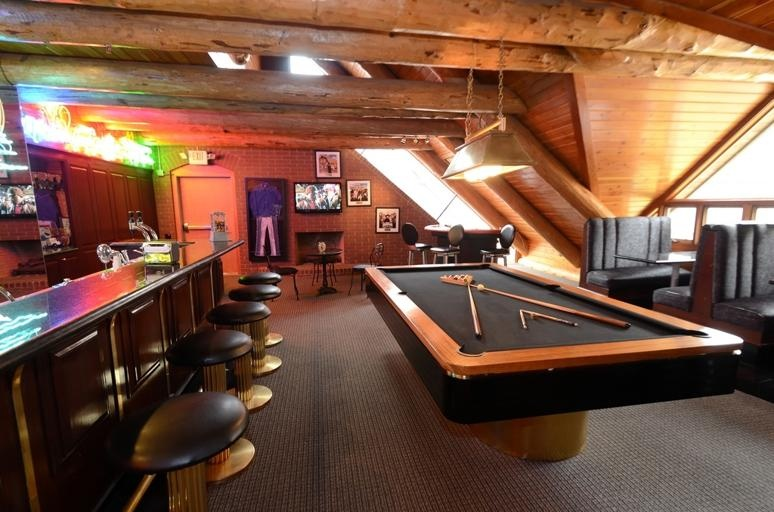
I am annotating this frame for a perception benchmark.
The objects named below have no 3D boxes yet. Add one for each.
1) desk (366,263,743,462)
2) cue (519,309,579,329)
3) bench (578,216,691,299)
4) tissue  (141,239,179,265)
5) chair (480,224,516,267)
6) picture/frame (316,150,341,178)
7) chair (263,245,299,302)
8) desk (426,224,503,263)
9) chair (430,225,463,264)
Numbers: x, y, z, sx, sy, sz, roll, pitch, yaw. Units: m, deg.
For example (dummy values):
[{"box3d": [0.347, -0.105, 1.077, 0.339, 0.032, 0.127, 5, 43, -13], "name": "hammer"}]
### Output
[{"box3d": [1.151, 0.913, 4.382, 3.015, 0.965, 1.865, 3, 16, -26], "name": "desk"}, {"box3d": [1.324, 0.506, 3.997, 0.034, 0.083, 0.763, 0, 7, -20], "name": "cue"}, {"box3d": [3.556, 0.090, 6.914, 1.485, 1.188, 0.680, -4, 17, -15], "name": "bench"}, {"box3d": [-2.108, -0.040, 4.669, 0.347, 0.227, 0.227, 1, 1, -1], "name": "tissue "}, {"box3d": [1.826, -0.112, 8.072, 0.522, 0.722, 0.397, -8, 15, -14], "name": "chair"}, {"box3d": [-1.095, -1.736, 9.302, 0.589, 0.495, 0.045, 5, 12, -18], "name": "picture/frame"}, {"box3d": [-1.596, 0.237, 7.547, 0.540, 0.659, 0.453, 1, 3, -10], "name": "chair"}, {"box3d": [1.494, -0.278, 9.227, 0.932, 0.631, 0.949, 0, 5, 3], "name": "desk"}, {"box3d": [1.091, -0.207, 8.643, 0.522, 0.753, 1.392, -1, 8, 8], "name": "chair"}]
